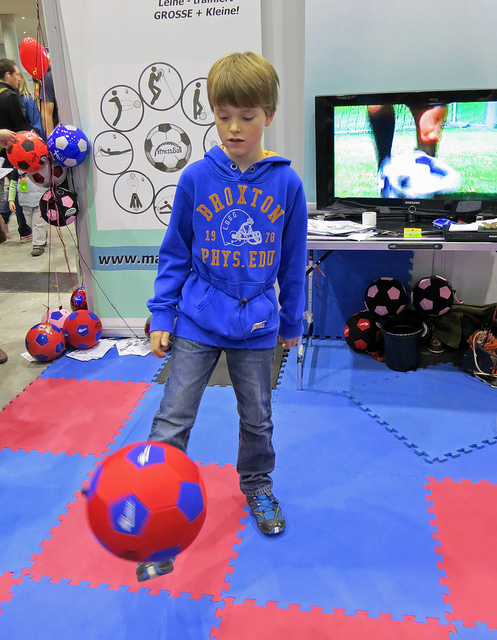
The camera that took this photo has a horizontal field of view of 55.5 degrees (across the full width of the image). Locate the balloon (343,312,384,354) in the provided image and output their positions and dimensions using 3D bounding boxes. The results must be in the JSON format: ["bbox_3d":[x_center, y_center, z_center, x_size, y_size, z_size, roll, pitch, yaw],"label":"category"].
[{"bbox_3d":[0.747,0.078,3.160,0.233,0.283,0.242,-10,24,20],"label":"balloon"}]

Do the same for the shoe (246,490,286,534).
[{"bbox_3d":[0.067,0.664,1.635,0.115,0.111,0.211,-3,16,-7],"label":"shoe"}]

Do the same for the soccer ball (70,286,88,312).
[{"bbox_3d":[-1.185,-0.154,3.413,0.151,0.193,0.155,4,3,0],"label":"soccer ball"}]

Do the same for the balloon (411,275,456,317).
[{"bbox_3d":[1.181,-0.151,3.045,0.258,0.257,0.174,5,23,0],"label":"balloon"}]

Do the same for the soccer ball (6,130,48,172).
[{"bbox_3d":[-1.391,-1.052,2.972,0.246,0.237,0.184,-8,23,-20],"label":"soccer ball"}]

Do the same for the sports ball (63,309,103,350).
[{"bbox_3d":[-1.121,0.088,3.265,0.234,0.298,0.252,2,-9,0],"label":"sports ball"}]

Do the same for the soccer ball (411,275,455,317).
[{"bbox_3d":[1.179,-0.141,3.024,0.250,0.257,0.110,8,23,19],"label":"soccer ball"}]

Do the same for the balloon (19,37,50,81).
[{"bbox_3d":[-1.659,-2.016,3.633,0.214,0.253,0.416,-9,3,-21],"label":"balloon"}]

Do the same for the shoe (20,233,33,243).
[{"bbox_3d":[-2.952,-1.098,6.318,0.100,0.137,0.298,-2,9,-8],"label":"shoe"}]

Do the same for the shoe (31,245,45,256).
[{"bbox_3d":[-2.540,-0.839,5.705,0.103,0.129,0.299,0,8,-15],"label":"shoe"}]

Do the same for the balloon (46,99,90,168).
[{"bbox_3d":[-1.149,-1.149,2.983,0.244,0.327,0.240,-26,-1,32],"label":"balloon"}]

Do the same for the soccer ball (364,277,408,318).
[{"bbox_3d":[0.891,-0.146,3.070,0.252,0.230,0.165,9,23,21],"label":"soccer ball"}]

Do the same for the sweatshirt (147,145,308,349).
[{"bbox_3d":[-0.043,-0.171,1.296,0.472,0.567,0.206,-6,22,-15],"label":"sweatshirt"}]

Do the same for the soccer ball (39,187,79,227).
[{"bbox_3d":[-1.218,-0.729,3.144,0.239,0.285,0.233,-1,4,0],"label":"soccer ball"}]

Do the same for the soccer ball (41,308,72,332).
[{"bbox_3d":[-1.374,-0.036,3.375,0.171,0.164,0.195,-2,32,-28],"label":"soccer ball"}]

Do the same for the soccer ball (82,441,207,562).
[{"bbox_3d":[-0.224,0.400,1.005,0.227,0.274,0.224,4,16,-1],"label":"soccer ball"}]

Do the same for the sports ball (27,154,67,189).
[{"bbox_3d":[-1.306,-0.943,3.098,0.189,0.228,0.193,2,40,-2],"label":"sports ball"}]
